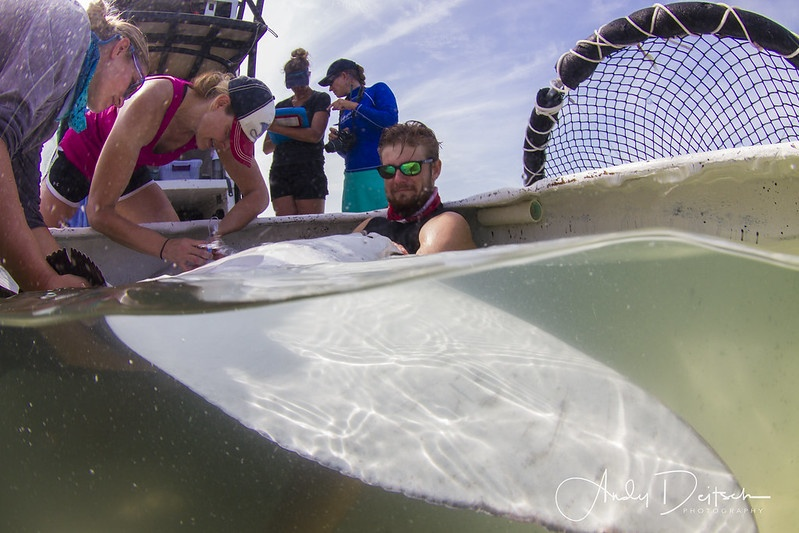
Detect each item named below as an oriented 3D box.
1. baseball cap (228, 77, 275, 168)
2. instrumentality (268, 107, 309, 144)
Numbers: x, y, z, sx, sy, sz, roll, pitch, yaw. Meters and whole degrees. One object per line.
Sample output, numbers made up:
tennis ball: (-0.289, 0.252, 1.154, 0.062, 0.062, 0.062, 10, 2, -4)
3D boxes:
baseball cap: (-0.629, -0.651, 2.595, 0.158, 0.381, 0.229, 1, 25, -6)
instrumentality: (-0.632, -0.829, 3.424, 0.214, 0.069, 0.219, -7, -1, 24)
